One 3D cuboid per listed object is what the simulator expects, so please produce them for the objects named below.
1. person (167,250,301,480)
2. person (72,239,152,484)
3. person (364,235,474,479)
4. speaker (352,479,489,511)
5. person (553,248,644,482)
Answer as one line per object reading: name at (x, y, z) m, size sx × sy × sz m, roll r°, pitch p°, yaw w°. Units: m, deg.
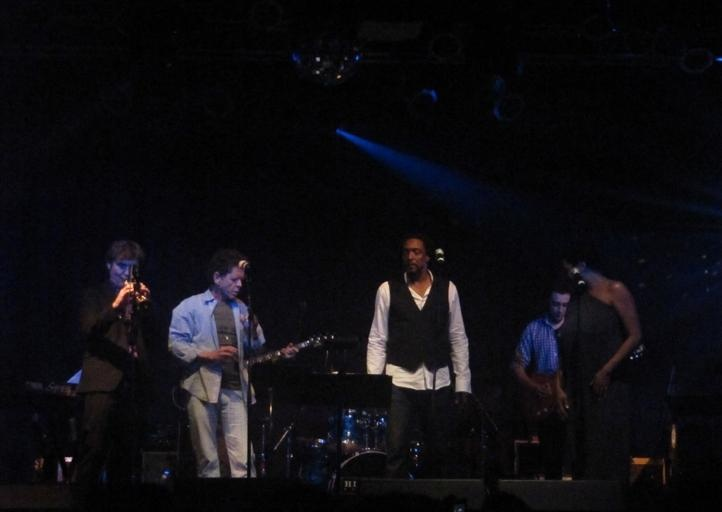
person at (-1.793, 1.278, 9.335) m, size 1.137 × 2.729 × 0.754 m, roll 4°, pitch -15°, yaw -7°
person at (-2.922, 1.185, 8.963) m, size 0.785 × 2.825 × 1.079 m, roll 3°, pitch -15°, yaw -1°
person at (0.696, 1.167, 9.030) m, size 1.212 × 2.802 × 0.465 m, roll 2°, pitch -15°, yaw 1°
speaker at (0.650, 2.406, 7.747) m, size 1.208 × 0.294 × 0.202 m, roll 0°, pitch -15°, yaw 5°
person at (2.840, 1.273, 8.942) m, size 0.895 × 2.625 × 0.425 m, roll -4°, pitch -17°, yaw 24°
